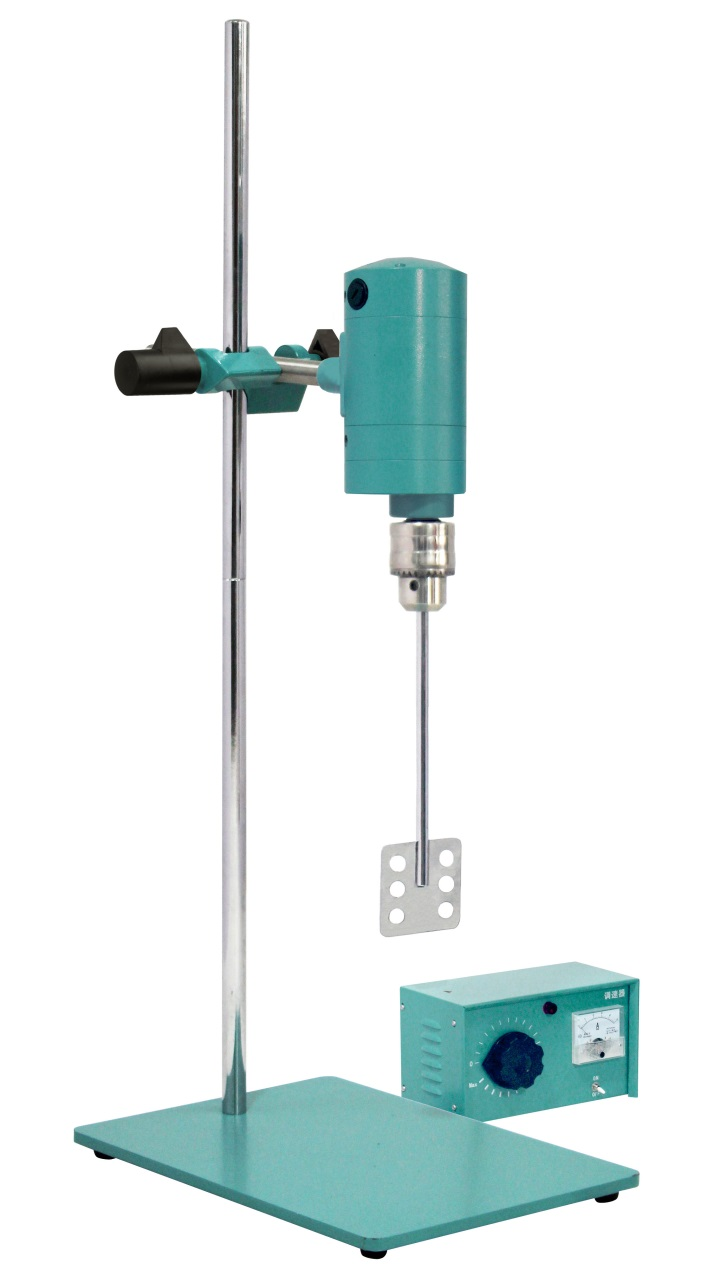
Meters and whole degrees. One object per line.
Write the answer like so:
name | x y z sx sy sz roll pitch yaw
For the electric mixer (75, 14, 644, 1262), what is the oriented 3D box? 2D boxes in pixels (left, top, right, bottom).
electric mixer | -0.051 -0.051 2.243 0.594 0.609 1.814 2 -89 35
